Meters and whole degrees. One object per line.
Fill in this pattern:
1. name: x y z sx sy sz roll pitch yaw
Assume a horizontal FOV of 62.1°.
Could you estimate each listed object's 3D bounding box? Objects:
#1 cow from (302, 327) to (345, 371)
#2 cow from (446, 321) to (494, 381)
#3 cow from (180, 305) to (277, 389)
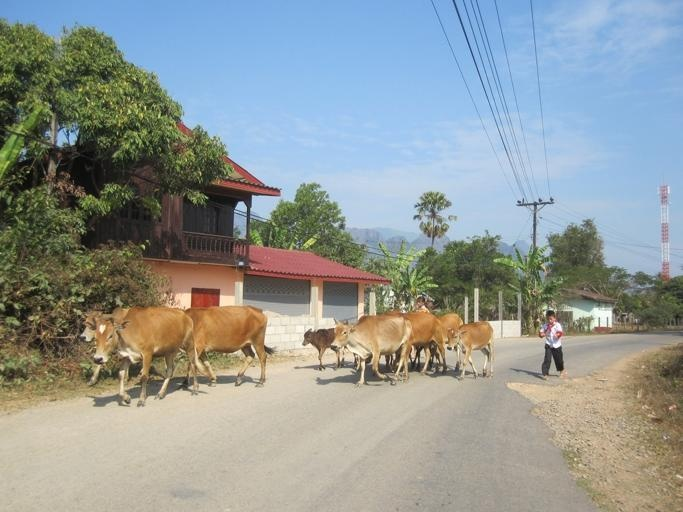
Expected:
1. cow: -0.496 2.879 18.219 1.734 1.213 0.432 -2 0 -41
2. cow: 3.777 2.672 16.220 1.869 1.560 0.567 1 -4 -32
3. cow: -3.058 2.154 13.900 2.888 2.149 0.755 2 -3 -25
